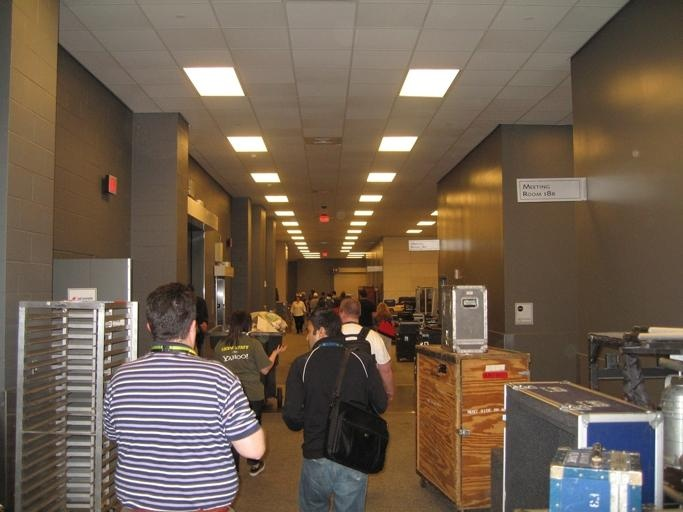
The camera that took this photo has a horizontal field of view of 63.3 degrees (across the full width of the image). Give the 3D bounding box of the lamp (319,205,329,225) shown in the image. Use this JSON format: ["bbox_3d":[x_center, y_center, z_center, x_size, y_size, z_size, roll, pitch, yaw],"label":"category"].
[{"bbox_3d":[-0.454,-1.096,14.546,0.300,0.541,0.289,2,27,2],"label":"lamp"}]

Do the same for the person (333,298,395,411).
[{"bbox_3d":[0.127,1.143,5.446,0.675,1.585,0.337,1,24,6],"label":"person"}]

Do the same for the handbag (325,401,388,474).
[{"bbox_3d":[0.081,1.215,3.691,0.416,0.376,0.218,14,-12,-25],"label":"handbag"}]
